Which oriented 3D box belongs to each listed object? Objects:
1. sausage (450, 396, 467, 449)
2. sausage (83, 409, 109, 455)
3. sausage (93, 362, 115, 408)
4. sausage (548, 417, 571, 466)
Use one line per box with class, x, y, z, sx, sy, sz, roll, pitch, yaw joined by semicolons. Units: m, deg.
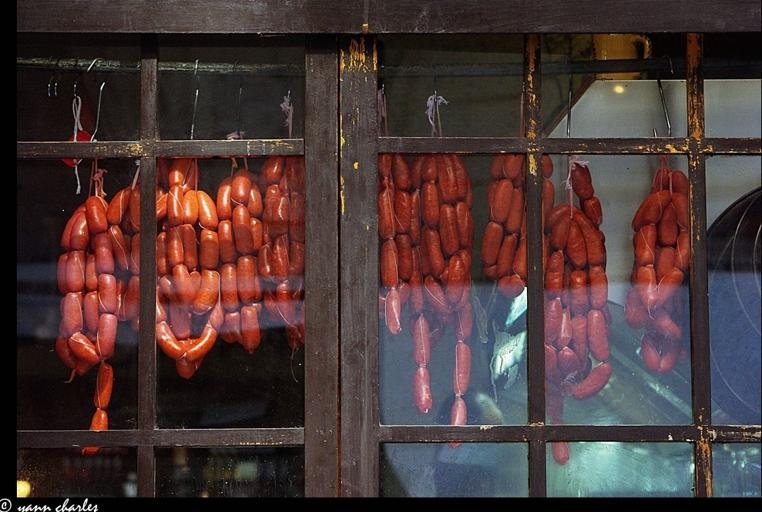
sausage;0.464;0.944;7.153;0.102;0.170;0.032;-2;-1;4
sausage;-1.741;1.071;7.112;0.133;0.268;0.081;3;-9;12
sausage;-1.696;0.793;7.146;0.117;0.275;0.018;-2;-1;7
sausage;1.087;1.134;7.181;0.104;0.272;0.102;-5;-2;-4
